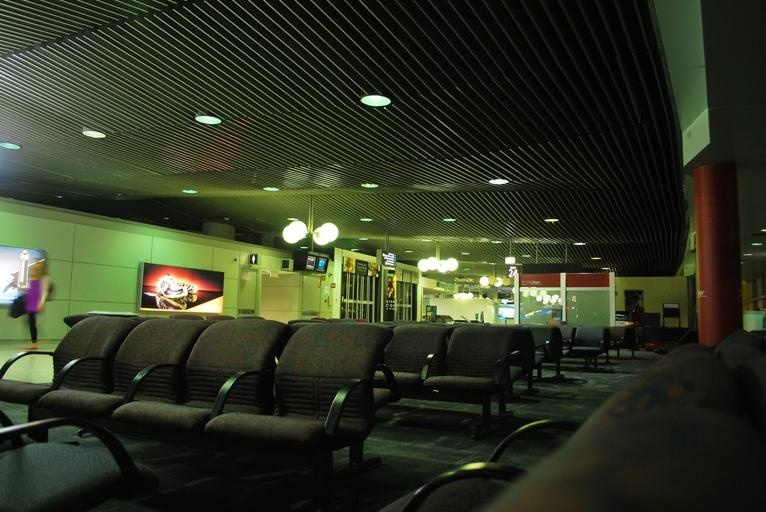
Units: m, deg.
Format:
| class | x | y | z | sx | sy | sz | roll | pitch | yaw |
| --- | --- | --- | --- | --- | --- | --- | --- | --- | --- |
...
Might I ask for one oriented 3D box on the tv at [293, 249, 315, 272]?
| class | x | y | z | sx | sy | sz | roll | pitch | yaw |
| --- | --- | --- | --- | --- | --- | --- | --- | --- | --- |
| tv | -2.157 | 0.126 | 16.602 | 0.650 | 0.484 | 0.473 | 2 | -1 | -2 |
